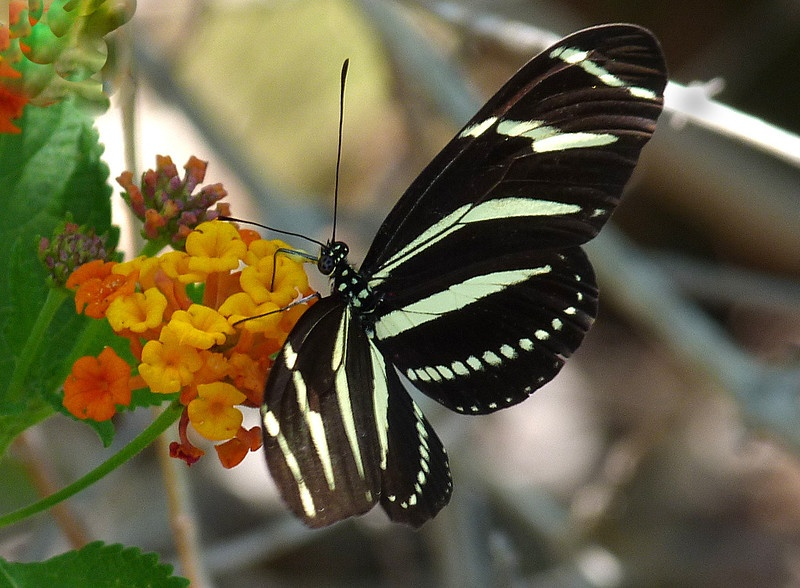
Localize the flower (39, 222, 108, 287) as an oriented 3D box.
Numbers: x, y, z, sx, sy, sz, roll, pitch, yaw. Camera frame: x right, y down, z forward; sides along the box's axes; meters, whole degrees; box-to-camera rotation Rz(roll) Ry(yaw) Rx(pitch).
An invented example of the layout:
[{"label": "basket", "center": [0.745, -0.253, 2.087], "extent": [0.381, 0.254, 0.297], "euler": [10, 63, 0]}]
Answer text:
[{"label": "flower", "center": [-0.683, -0.084, 2.071], "extent": [0.150, 0.090, 0.127], "euler": [2, 81, 0]}]

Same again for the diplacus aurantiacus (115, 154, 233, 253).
[{"label": "diplacus aurantiacus", "center": [-0.490, -0.199, 2.230], "extent": [0.230, 0.161, 0.225], "euler": [33, 55, 22]}]

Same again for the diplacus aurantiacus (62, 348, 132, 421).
[{"label": "diplacus aurantiacus", "center": [-0.599, 0.180, 1.943], "extent": [0.119, 0.077, 0.147], "euler": [-3, 79, 4]}]

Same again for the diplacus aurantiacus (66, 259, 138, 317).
[{"label": "diplacus aurantiacus", "center": [-0.604, -0.017, 1.989], "extent": [0.123, 0.051, 0.127], "euler": [3, 50, 13]}]
